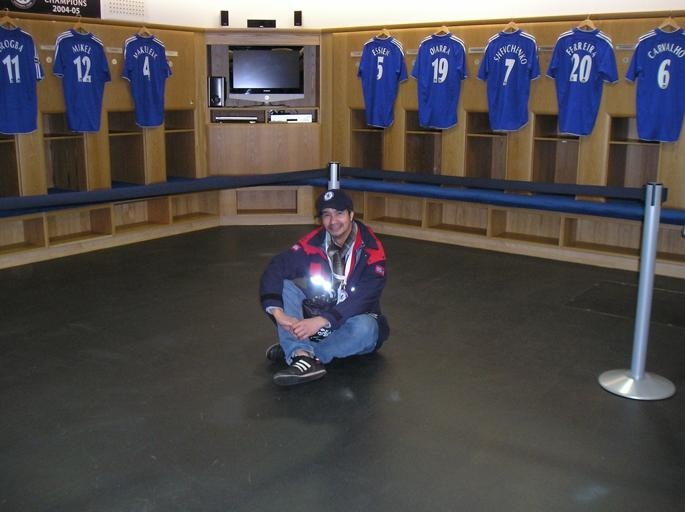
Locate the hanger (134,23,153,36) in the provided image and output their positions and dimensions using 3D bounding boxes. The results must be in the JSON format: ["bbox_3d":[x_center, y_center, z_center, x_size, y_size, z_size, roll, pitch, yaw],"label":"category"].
[{"bbox_3d":[-2.316,-2.622,5.988,0.008,0.123,0.201,12,22,24],"label":"hanger"}]

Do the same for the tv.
[{"bbox_3d":[-1.036,-2.468,6.983,0.811,0.610,0.082,-1,9,-5],"label":"tv"}]

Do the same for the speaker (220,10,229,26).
[{"bbox_3d":[-1.584,-3.165,6.919,0.117,0.225,0.292,-4,16,-12],"label":"speaker"}]

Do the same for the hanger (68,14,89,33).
[{"bbox_3d":[-2.827,-2.476,5.548,0.161,0.159,0.100,-14,21,-39],"label":"hanger"}]

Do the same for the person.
[{"bbox_3d":[-0.096,0.140,3.312,0.800,1.113,1.110,12,20,30],"label":"person"}]

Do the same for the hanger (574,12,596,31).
[{"bbox_3d":[2.527,-2.415,5.367,0.183,0.154,0.104,2,16,8],"label":"hanger"}]

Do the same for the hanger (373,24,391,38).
[{"bbox_3d":[0.508,-2.785,6.482,0.195,0.234,0.144,14,34,29],"label":"hanger"}]

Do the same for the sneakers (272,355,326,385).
[{"bbox_3d":[-0.238,0.644,2.984,0.132,0.140,0.333,-2,-3,42],"label":"sneakers"}]

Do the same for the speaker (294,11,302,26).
[{"bbox_3d":[-0.613,-3.224,7.044,0.104,0.193,0.096,-4,16,-12],"label":"speaker"}]

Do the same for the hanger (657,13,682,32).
[{"bbox_3d":[3.162,-2.261,5.009,0.207,0.131,0.019,15,35,35],"label":"hanger"}]

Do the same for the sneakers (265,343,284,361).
[{"bbox_3d":[-0.425,0.620,3.295,0.152,0.067,0.064,-2,19,-1],"label":"sneakers"}]

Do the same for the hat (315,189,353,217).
[{"bbox_3d":[-0.059,-0.321,3.104,0.220,0.159,0.216,1,16,4],"label":"hat"}]

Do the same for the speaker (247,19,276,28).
[{"bbox_3d":[-1.072,-3.048,6.796,0.273,0.142,0.066,0,36,-3],"label":"speaker"}]
